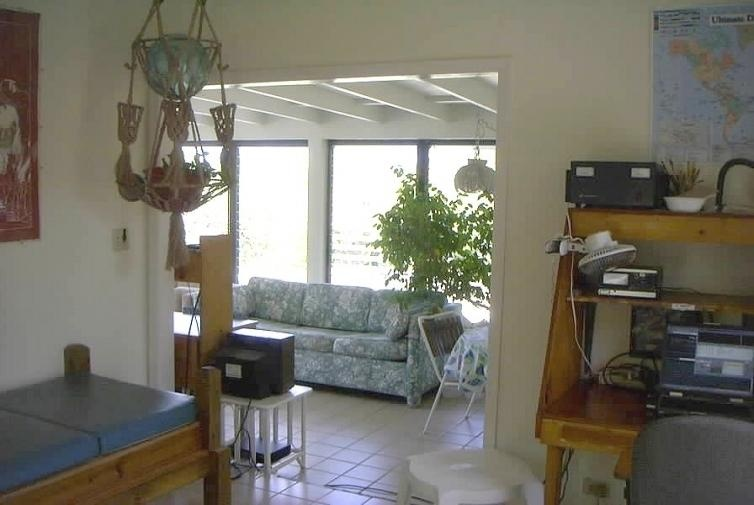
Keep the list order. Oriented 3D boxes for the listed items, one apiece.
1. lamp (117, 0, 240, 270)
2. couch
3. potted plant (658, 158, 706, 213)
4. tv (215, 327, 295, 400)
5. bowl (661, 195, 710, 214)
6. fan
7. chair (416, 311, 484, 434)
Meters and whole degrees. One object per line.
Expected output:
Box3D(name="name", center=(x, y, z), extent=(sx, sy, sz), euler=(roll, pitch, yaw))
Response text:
Box3D(name="lamp", center=(-1.305, -0.800, 3.895), extent=(0.709, 1.872, 1.251), euler=(-1, 7, -17))
Box3D(name="couch", center=(-0.657, 0.951, 7.207), extent=(2.887, 1.031, 0.989), euler=(3, 2, 28))
Box3D(name="potted plant", center=(1.727, -0.373, 3.442), extent=(0.325, 0.310, 0.261), euler=(1, 1, 14))
Box3D(name="tv", center=(-0.930, 0.861, 4.587), extent=(0.572, 0.373, 0.567), euler=(1, 2, 2))
Box3D(name="bowl", center=(1.697, -0.251, 3.328), extent=(0.175, 0.054, 0.106), euler=(2, -1, -10))
Box3D(name="fan", center=(1.185, 0.011, 3.396), extent=(0.470, 0.251, 0.354), euler=(0, -11, 34))
Box3D(name="chair", center=(0.768, 1.099, 6.045), extent=(0.619, 1.053, 1.227), euler=(3, 7, 13))
